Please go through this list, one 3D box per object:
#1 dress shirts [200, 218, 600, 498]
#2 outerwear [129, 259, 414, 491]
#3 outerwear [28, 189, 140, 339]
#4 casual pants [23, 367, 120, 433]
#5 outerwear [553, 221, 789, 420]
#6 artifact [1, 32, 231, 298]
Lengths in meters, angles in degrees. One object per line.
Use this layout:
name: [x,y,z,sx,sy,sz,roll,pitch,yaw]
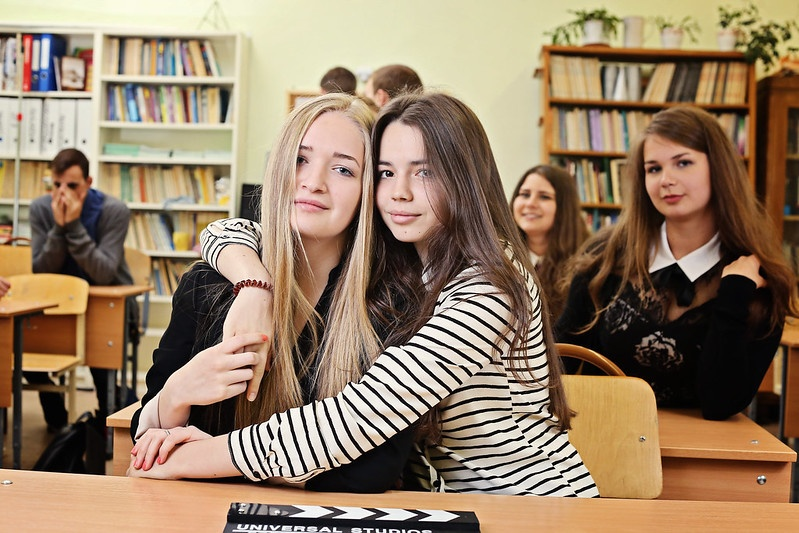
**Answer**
dress shirts: [0.067,0.304,2.220,0.982,0.626,0.707,1,-3,-1]
outerwear: [-0.348,0.330,1.996,0.645,0.598,0.365,6,-8,-5]
outerwear: [-1.989,-0.053,4.350,0.594,0.828,0.584,6,13,21]
casual pants: [-2.073,0.784,4.094,0.292,0.379,0.354,1,-6,-36]
outerwear: [1.089,0.188,2.838,0.876,0.731,0.447,23,28,39]
artifact: [-1.956,-0.750,4.661,2.041,1.884,0.599,0,-3,-2]
